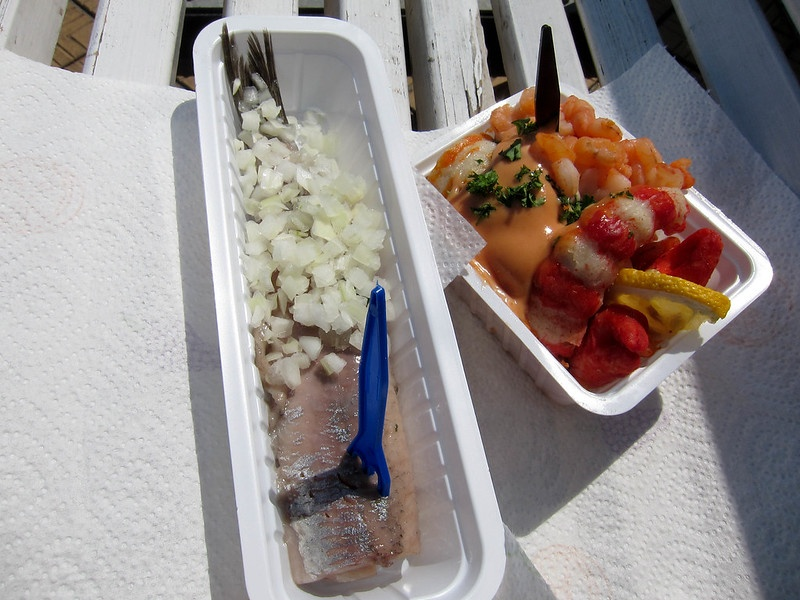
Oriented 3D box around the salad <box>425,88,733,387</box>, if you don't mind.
[{"bbox_3d":[0.489,-0.121,2.399,0.703,0.304,0.941,-38,88,-20],"label":"salad"}]
